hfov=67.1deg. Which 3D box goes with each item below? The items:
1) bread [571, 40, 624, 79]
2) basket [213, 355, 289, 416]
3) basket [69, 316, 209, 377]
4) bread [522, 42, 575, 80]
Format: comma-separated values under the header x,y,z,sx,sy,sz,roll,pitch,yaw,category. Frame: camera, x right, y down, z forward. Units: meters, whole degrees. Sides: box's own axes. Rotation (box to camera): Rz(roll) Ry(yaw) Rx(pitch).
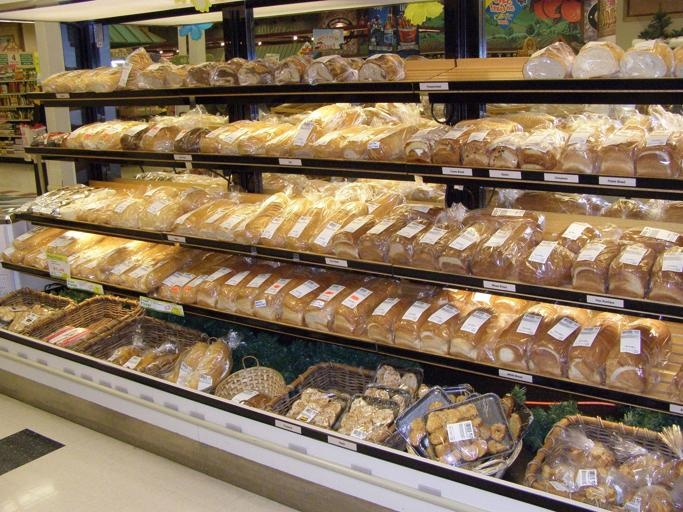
x,y,z,sx,sy,sz,roll,pitch,yaw,category
1.024,-0.764,2.086,0.206,0.118,0.226,8,22,30,bread
-0.570,0.829,3.212,0.324,0.398,0.485,-12,-24,18,basket
-1.319,0.621,3.471,0.547,0.149,0.435,13,25,26,basket
0.857,-0.795,2.104,0.150,0.087,0.251,10,31,32,bread
